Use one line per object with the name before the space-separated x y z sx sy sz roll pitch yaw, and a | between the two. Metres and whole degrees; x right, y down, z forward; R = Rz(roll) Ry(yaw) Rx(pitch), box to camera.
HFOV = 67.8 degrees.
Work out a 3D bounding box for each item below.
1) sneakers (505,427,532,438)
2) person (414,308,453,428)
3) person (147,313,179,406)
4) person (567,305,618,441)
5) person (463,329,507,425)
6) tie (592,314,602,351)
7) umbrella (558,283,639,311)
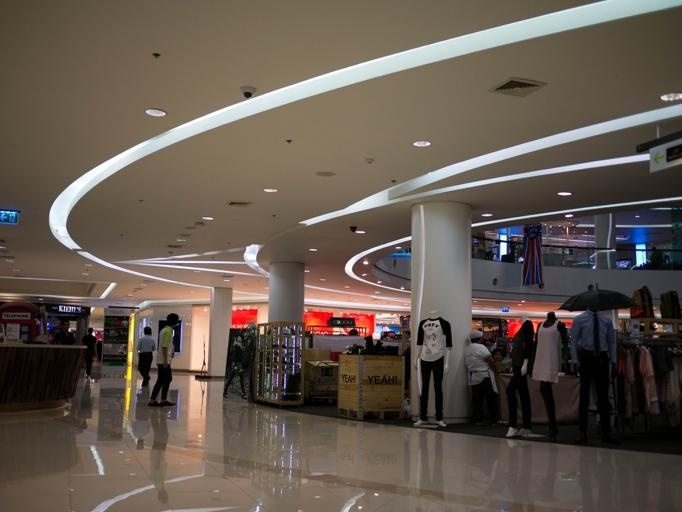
sneakers | 2.629 2.699 7.798 0.547 0.224 0.166 8 -17 -20
person | 1.638 1.976 9.046 0.655 1.990 0.441 -2 -11 20
person | -3.822 2.256 11.035 0.488 1.957 1.297 5 -11 -18
person | 3.595 1.663 7.211 0.549 1.883 0.666 -4 -12 28
person | 2.515 2.172 9.192 0.585 1.631 0.658 -2 -11 17
tie | 3.565 1.064 7.126 0.095 0.563 0.076 -2 -11 18
umbrella | 5.615 0.958 11.096 1.327 0.517 0.792 3 -11 -8
